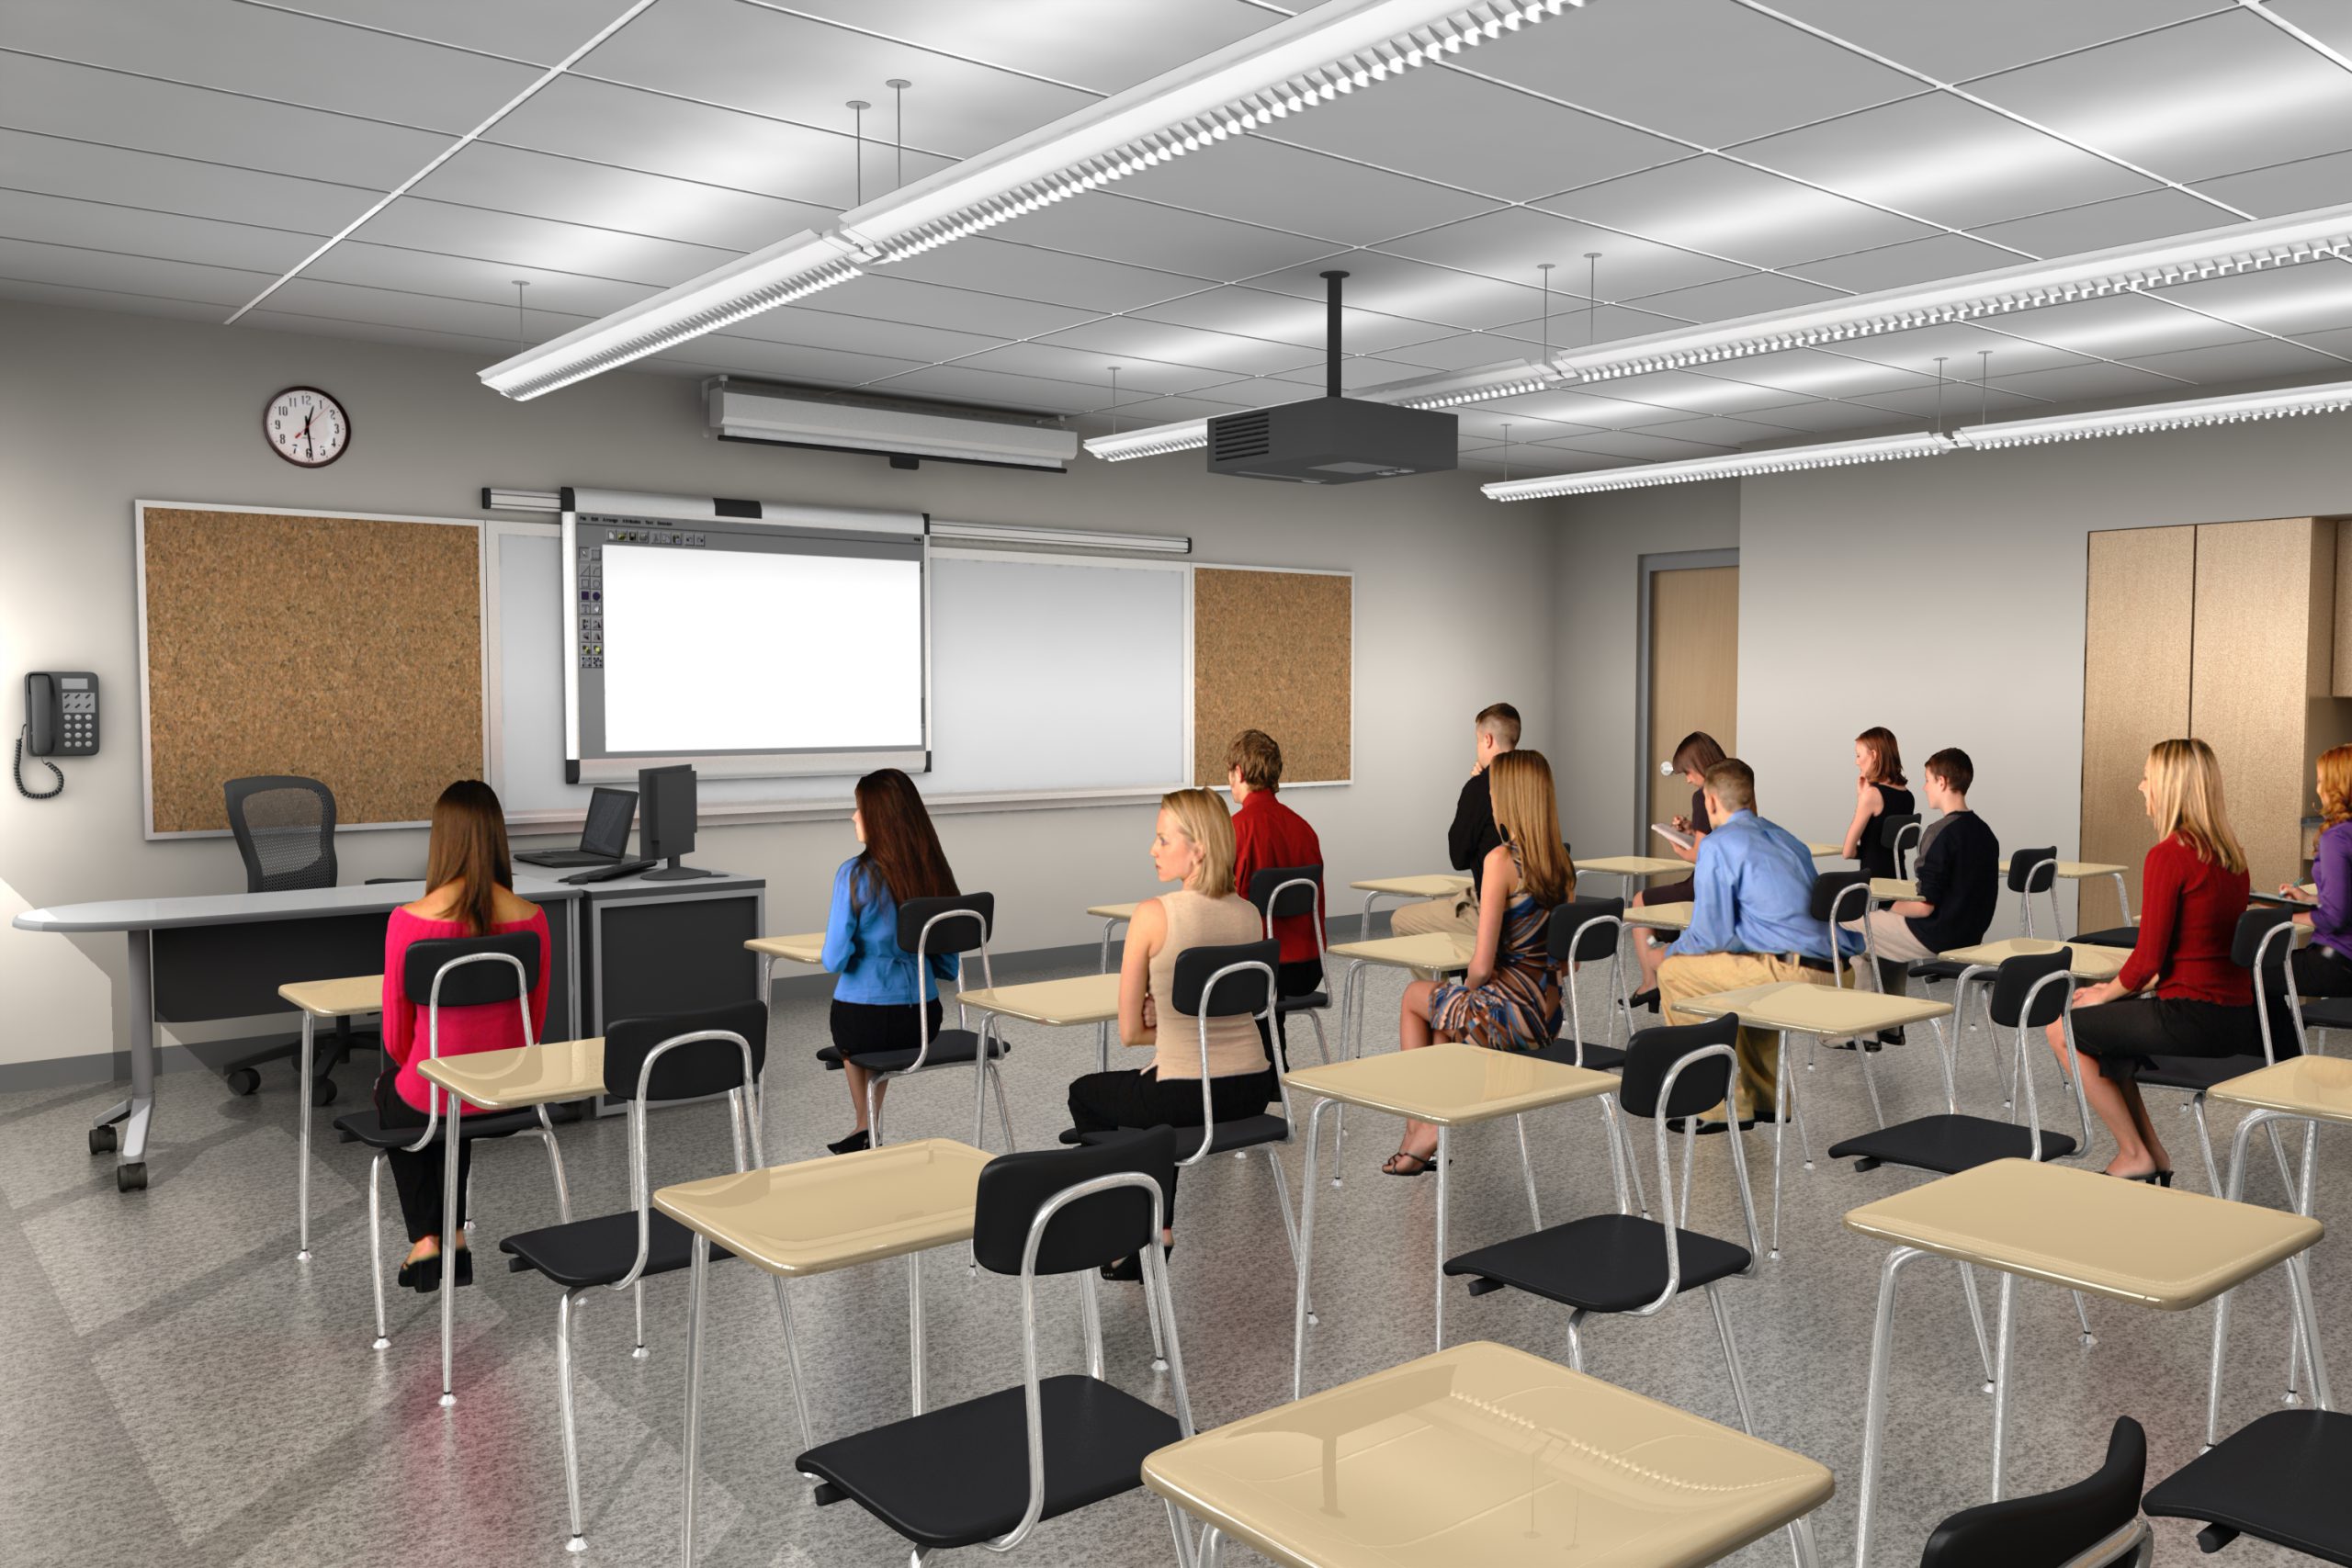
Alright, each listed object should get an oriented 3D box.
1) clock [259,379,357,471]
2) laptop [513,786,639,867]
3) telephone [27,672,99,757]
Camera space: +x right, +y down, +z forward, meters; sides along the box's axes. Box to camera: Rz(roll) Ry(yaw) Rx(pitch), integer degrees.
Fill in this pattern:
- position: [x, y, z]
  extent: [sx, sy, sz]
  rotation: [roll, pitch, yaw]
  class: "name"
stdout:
- position: [-4.453, -1.858, 8.111]
  extent: [0.534, 0.501, 0.056]
  rotation: [-1, 0, -36]
  class: "clock"
- position: [-3.049, 0.224, 8.089]
  extent: [0.487, 0.331, 0.561]
  rotation: [3, -1, -35]
  class: "laptop"
- position: [-5.327, -0.356, 7.620]
  extent: [0.305, 0.384, 0.134]
  rotation: [-3, 4, -41]
  class: "telephone"
